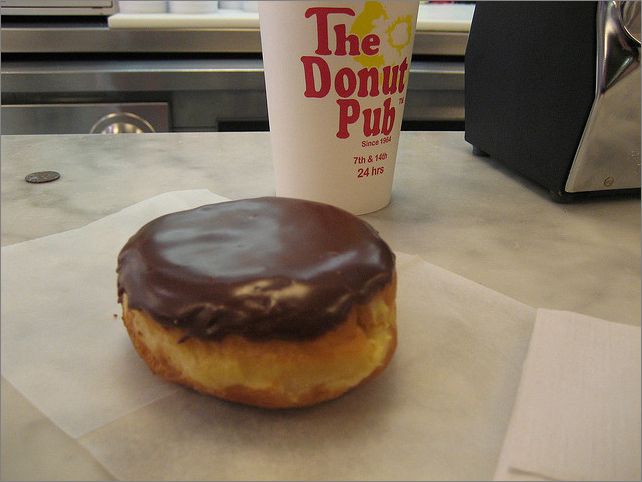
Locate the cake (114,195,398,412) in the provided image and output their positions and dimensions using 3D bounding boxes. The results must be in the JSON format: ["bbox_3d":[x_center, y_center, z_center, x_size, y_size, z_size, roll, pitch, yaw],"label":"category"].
[{"bbox_3d":[-0.064,0.052,0.550,0.275,0.136,0.283,12,21,23],"label":"cake"}]
